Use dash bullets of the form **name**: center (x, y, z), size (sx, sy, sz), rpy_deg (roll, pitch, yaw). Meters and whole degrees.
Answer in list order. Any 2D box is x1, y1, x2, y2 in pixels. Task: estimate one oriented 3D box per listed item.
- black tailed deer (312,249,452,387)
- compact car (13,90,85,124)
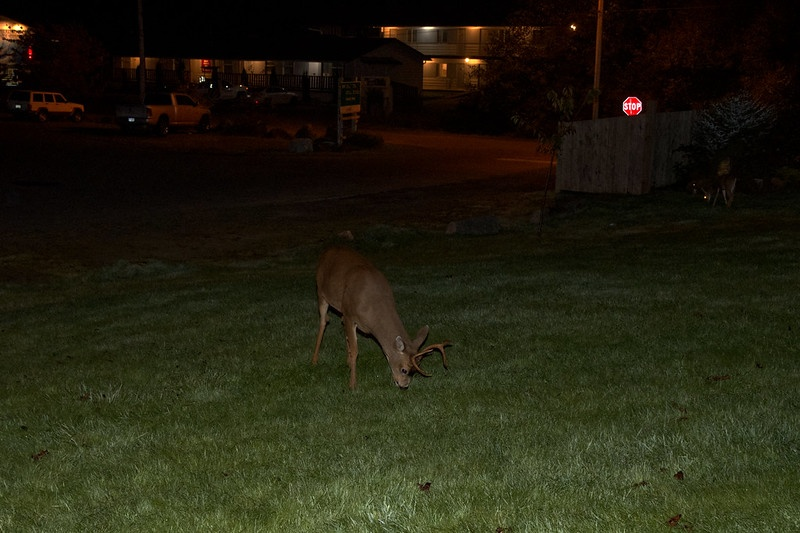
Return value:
- **black tailed deer**: center (-0.443, 0.862, 9.437), size (0.793, 1.781, 3.031), rpy_deg (-10, 29, -34)
- **compact car**: center (-26.295, -11.824, 50.572), size (4.428, 2.300, 1.333), rpy_deg (-11, 17, -31)
